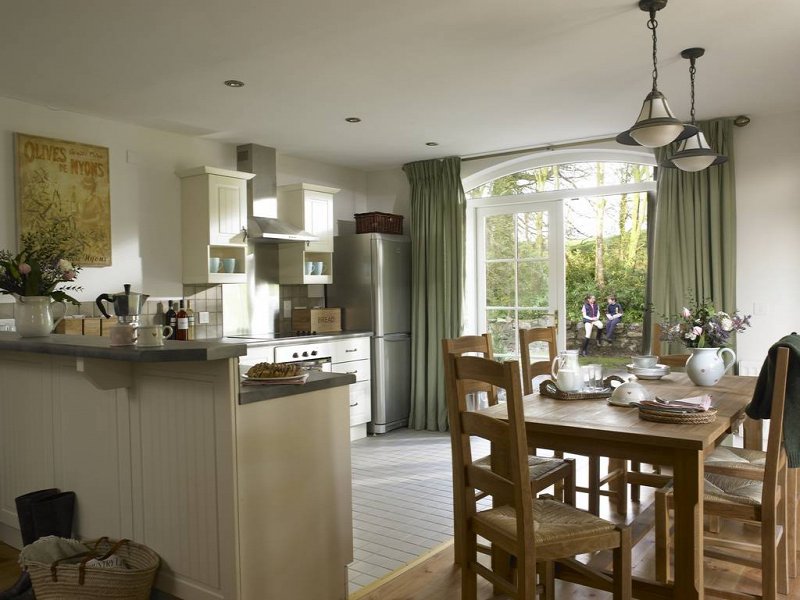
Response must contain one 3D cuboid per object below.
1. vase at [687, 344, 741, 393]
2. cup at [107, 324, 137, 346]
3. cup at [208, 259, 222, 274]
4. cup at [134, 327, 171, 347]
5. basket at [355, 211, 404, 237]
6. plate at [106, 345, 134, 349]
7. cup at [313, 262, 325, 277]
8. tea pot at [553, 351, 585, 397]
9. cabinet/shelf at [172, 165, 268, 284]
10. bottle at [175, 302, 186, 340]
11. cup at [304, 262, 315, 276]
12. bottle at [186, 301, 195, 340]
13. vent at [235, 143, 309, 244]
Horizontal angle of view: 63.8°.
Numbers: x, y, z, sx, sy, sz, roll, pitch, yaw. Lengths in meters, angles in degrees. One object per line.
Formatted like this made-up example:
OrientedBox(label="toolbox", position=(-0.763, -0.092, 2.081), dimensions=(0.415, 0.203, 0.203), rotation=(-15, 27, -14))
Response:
OrientedBox(label="vase", position=(1.949, 0.421, 3.970), dimensions=(0.382, 0.285, 0.241), rotation=(-1, -3, -14))
OrientedBox(label="cup", position=(-1.406, 0.180, 3.243), dimensions=(0.090, 0.100, 0.142), rotation=(1, -5, -9))
OrientedBox(label="cup", position=(-1.616, -0.281, 5.555), dimensions=(0.061, 0.135, 0.124), rotation=(-1, 5, 12))
OrientedBox(label="cup", position=(-1.269, 0.193, 3.273), dimensions=(0.142, 0.091, 0.108), rotation=(4, -2, -11))
OrientedBox(label="basket", position=(-0.182, -0.786, 6.764), dimensions=(0.538, 0.246, 0.576), rotation=(-2, 4, -6))
OrientedBox(label="plate", position=(-1.414, 0.236, 3.232), dimensions=(0.122, 0.015, 0.066), rotation=(-3, 4, -12))
OrientedBox(label="cup", position=(-0.802, -0.300, 6.433), dimensions=(0.084, 0.122, 0.134), rotation=(-3, -9, 14))
OrientedBox(label="tea pot", position=(0.950, 0.424, 3.655), dimensions=(0.157, 0.224, 0.231), rotation=(2, -5, -14))
OrientedBox(label="cabinet/shelf", position=(-1.632, -0.626, 5.620), dimensions=(0.605, 0.999, 0.319), rotation=(-3, 5, -19))
OrientedBox(label="bottle", position=(-1.872, 0.179, 5.470), dimensions=(0.104, 0.321, 0.344), rotation=(-3, 5, -19))
OrientedBox(label="cup", position=(-0.855, -0.298, 6.314), dimensions=(0.080, 0.127, 0.127), rotation=(-5, -11, 24))
OrientedBox(label="bottle", position=(-1.833, 0.182, 5.601), dimensions=(0.070, 0.339, 0.235), rotation=(-3, 5, -18))
OrientedBox(label="vent", position=(-1.215, -0.996, 6.028), dimensions=(0.656, 0.838, 0.630), rotation=(7, 9, 27))
